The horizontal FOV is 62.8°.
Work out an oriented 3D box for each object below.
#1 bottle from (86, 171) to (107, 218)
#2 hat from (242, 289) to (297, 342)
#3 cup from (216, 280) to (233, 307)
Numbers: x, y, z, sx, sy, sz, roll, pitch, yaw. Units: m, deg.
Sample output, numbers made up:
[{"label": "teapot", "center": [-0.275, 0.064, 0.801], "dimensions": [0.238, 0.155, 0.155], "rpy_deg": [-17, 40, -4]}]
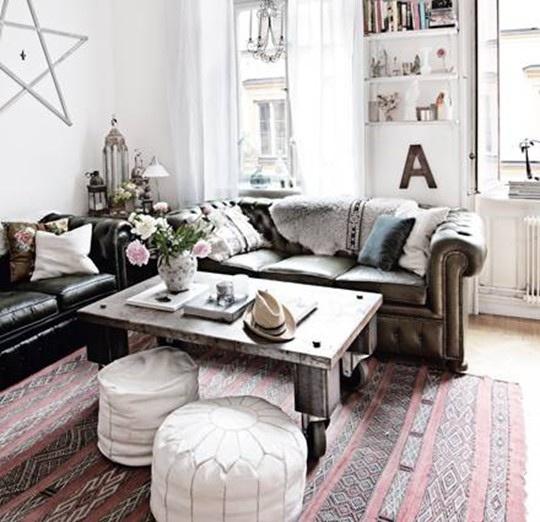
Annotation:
[{"label": "bottle", "center": [-1.620, -0.600, 4.153], "dimensions": [0.189, 0.428, 0.195], "rpy_deg": [1, 16, 0]}, {"label": "hat", "center": [0.009, 0.220, 1.850], "dimensions": [0.214, 0.161, 0.269], "rpy_deg": [-4, 11, -15]}, {"label": "cup", "center": [-0.228, 0.155, 2.107], "dimensions": [0.086, 0.173, 0.098], "rpy_deg": [2, 2, -11]}]
